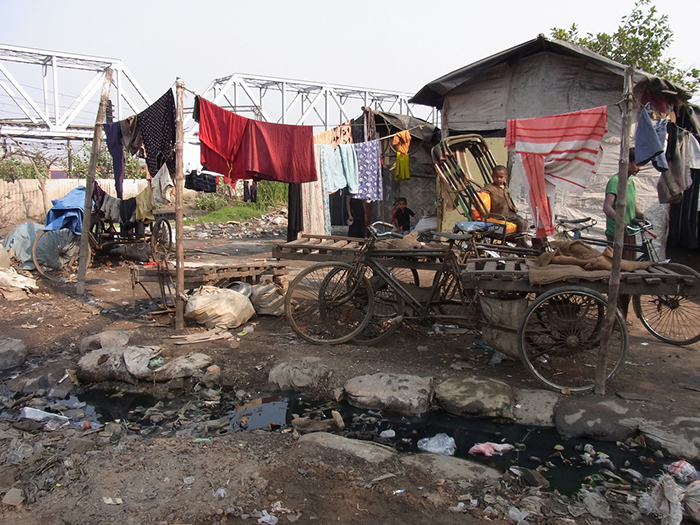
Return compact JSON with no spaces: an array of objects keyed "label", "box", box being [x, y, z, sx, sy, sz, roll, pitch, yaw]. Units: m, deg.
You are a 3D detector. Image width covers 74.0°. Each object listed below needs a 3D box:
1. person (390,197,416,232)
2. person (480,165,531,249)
[{"label":"person","box":[1.413,-1.070,12.404,0.610,1.245,0.417,-5,-15,14]},{"label":"person","box":[2.424,-0.895,7.482,1.000,1.251,1.138,0,23,5]}]
